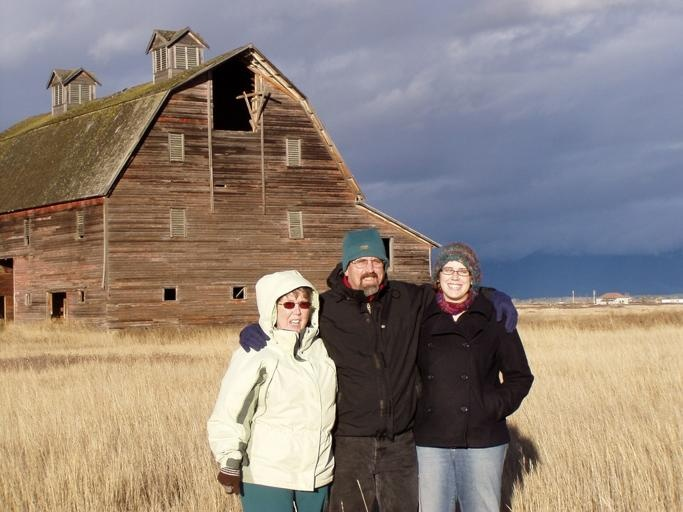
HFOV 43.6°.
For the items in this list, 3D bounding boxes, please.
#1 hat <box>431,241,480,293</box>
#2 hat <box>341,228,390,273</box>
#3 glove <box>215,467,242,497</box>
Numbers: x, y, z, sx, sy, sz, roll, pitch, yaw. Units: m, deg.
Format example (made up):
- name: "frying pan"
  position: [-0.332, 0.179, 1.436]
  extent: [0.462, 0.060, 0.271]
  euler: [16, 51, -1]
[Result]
- name: "hat"
  position: [1.228, 0.150, 9.156]
  extent: [0.439, 0.439, 0.464]
  euler: [1, -13, -3]
- name: "hat"
  position: [0.274, -0.049, 10.067]
  extent: [0.421, 0.537, 0.565]
  euler: [4, -10, -41]
- name: "glove"
  position: [-1.136, 2.350, 8.852]
  extent: [0.223, 0.264, 0.295]
  euler: [6, -36, 10]
